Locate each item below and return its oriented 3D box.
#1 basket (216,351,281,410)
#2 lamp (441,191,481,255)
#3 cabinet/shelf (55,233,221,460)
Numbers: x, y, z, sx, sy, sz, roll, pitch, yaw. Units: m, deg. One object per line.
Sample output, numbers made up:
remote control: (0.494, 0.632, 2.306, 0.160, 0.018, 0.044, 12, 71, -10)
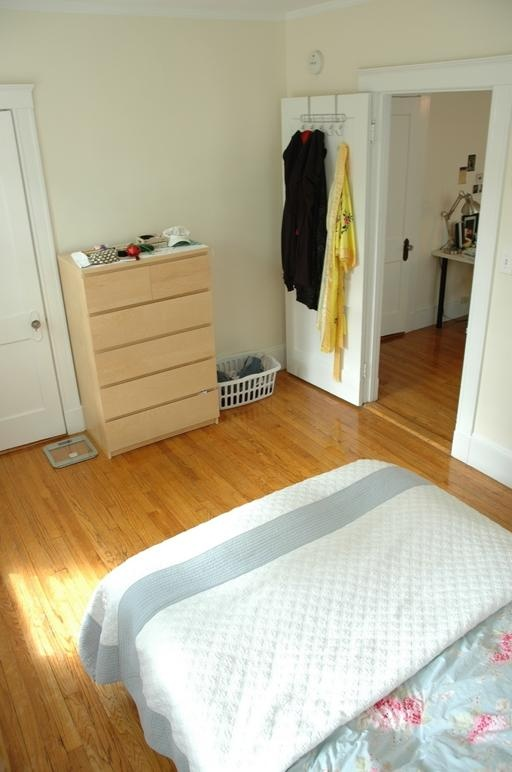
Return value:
basket: (-0.069, -0.062, 4.189, 0.509, 0.253, 0.345, -18, 31, -32)
lamp: (1.955, -1.559, 5.089, 0.355, 0.493, 0.261, -24, 33, -37)
cabinet/shelf: (-0.762, -0.255, 3.395, 0.921, 1.422, 0.527, -20, 37, -27)
